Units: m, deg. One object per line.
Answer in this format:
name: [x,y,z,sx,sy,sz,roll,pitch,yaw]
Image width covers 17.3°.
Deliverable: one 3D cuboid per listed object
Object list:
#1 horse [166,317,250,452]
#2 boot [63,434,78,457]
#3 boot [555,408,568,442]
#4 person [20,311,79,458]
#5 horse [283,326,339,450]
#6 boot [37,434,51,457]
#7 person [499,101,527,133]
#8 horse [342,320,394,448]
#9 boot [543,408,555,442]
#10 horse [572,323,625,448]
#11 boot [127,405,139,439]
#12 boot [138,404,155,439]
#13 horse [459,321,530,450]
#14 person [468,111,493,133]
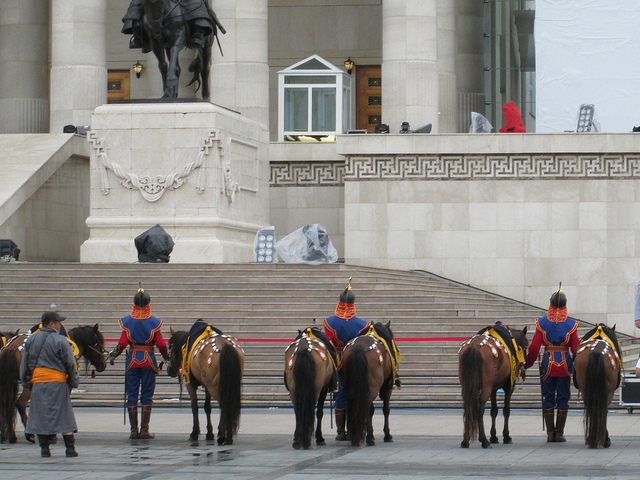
horse: [-2.550,3.172,47.355,1.119,2.696,3.886,2,-3,-23]
boot: [-5.388,4.368,45.219,0.274,0.469,0.276,0,-2,-20]
boot: [5.323,4.058,46.570,0.280,0.716,0.306,-1,-2,6]
person: [-5.865,3.073,45.407,1.209,3.105,0.675,-1,-2,-7]
horse: [-0.201,3.202,46.140,1.170,2.628,0.810,-1,-2,-1]
boot: [-5.974,4.376,45.359,0.274,0.480,0.344,-1,-2,-8]
person: [5.429,-3.480,59.641,0.637,0.917,1.175,-1,-2,1]
horse: [1.036,3.139,46.448,1.050,2.718,0.595,1,-3,-43]
boot: [5.049,4.055,46.497,0.239,0.706,0.187,-1,-2,4]
horse: [6.270,3.100,47.378,1.172,2.366,3.761,3,7,9]
boot: [-4.182,3.994,46.814,0.242,0.739,0.408,-1,-2,-8]
boot: [-3.898,3.988,46.849,0.358,0.760,0.440,-1,-2,-4]
horse: [3.844,3.165,46.641,1.344,2.732,1.895,-2,-2,17]
person: [4.635,-3.336,60.720,0.577,0.908,0.859,0,1,8]
